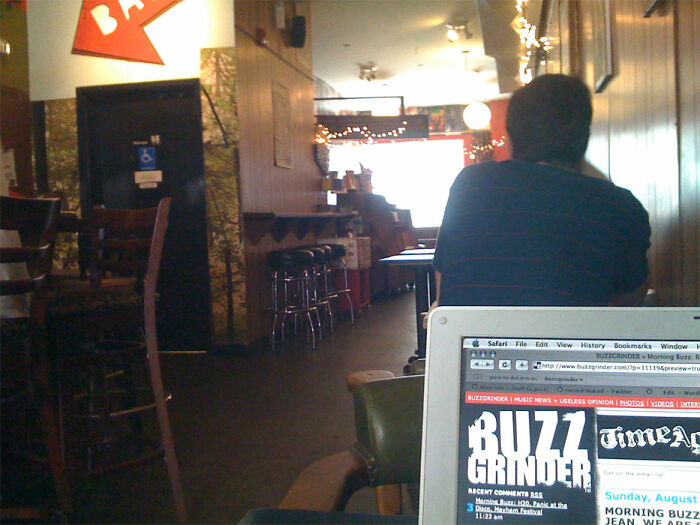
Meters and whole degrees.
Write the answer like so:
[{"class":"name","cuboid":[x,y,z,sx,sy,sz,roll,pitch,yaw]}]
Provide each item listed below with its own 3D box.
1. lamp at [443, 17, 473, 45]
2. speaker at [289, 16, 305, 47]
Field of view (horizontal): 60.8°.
[{"class":"lamp","cuboid":[1.698,-3.696,9.509,0.343,0.328,0.354,8,26,25]},{"class":"speaker","cuboid":[-0.616,-2.684,6.935,0.178,0.303,0.273,0,1,-8]}]
